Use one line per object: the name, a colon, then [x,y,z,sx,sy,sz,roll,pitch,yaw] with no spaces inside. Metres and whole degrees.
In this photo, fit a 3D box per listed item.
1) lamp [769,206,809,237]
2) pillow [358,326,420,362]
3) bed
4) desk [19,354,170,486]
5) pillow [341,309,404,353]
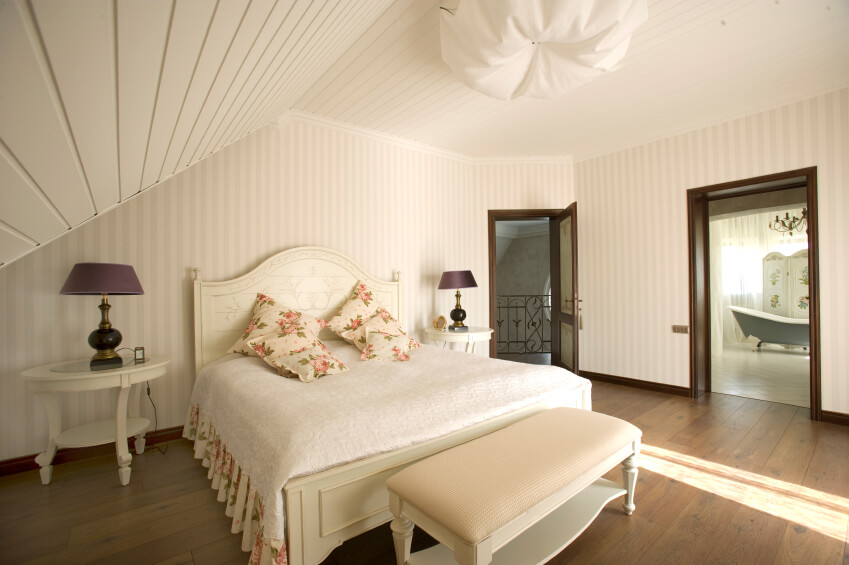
lamp: [5.789,-0.978,8.607,0.485,0.406,0.879,1,2,33]
pillow: [-0.358,0.600,5.085,0.324,0.112,0.309,15,33,-4]
bed: [-0.851,1.128,4.750,2.702,1.839,2.603,-2,1,-34]
desk: [-2.757,0.904,4.623,1.071,1.024,0.987,3,7,10]
pillow: [-0.549,0.444,5.370,0.414,0.129,0.397,-20,55,-42]
